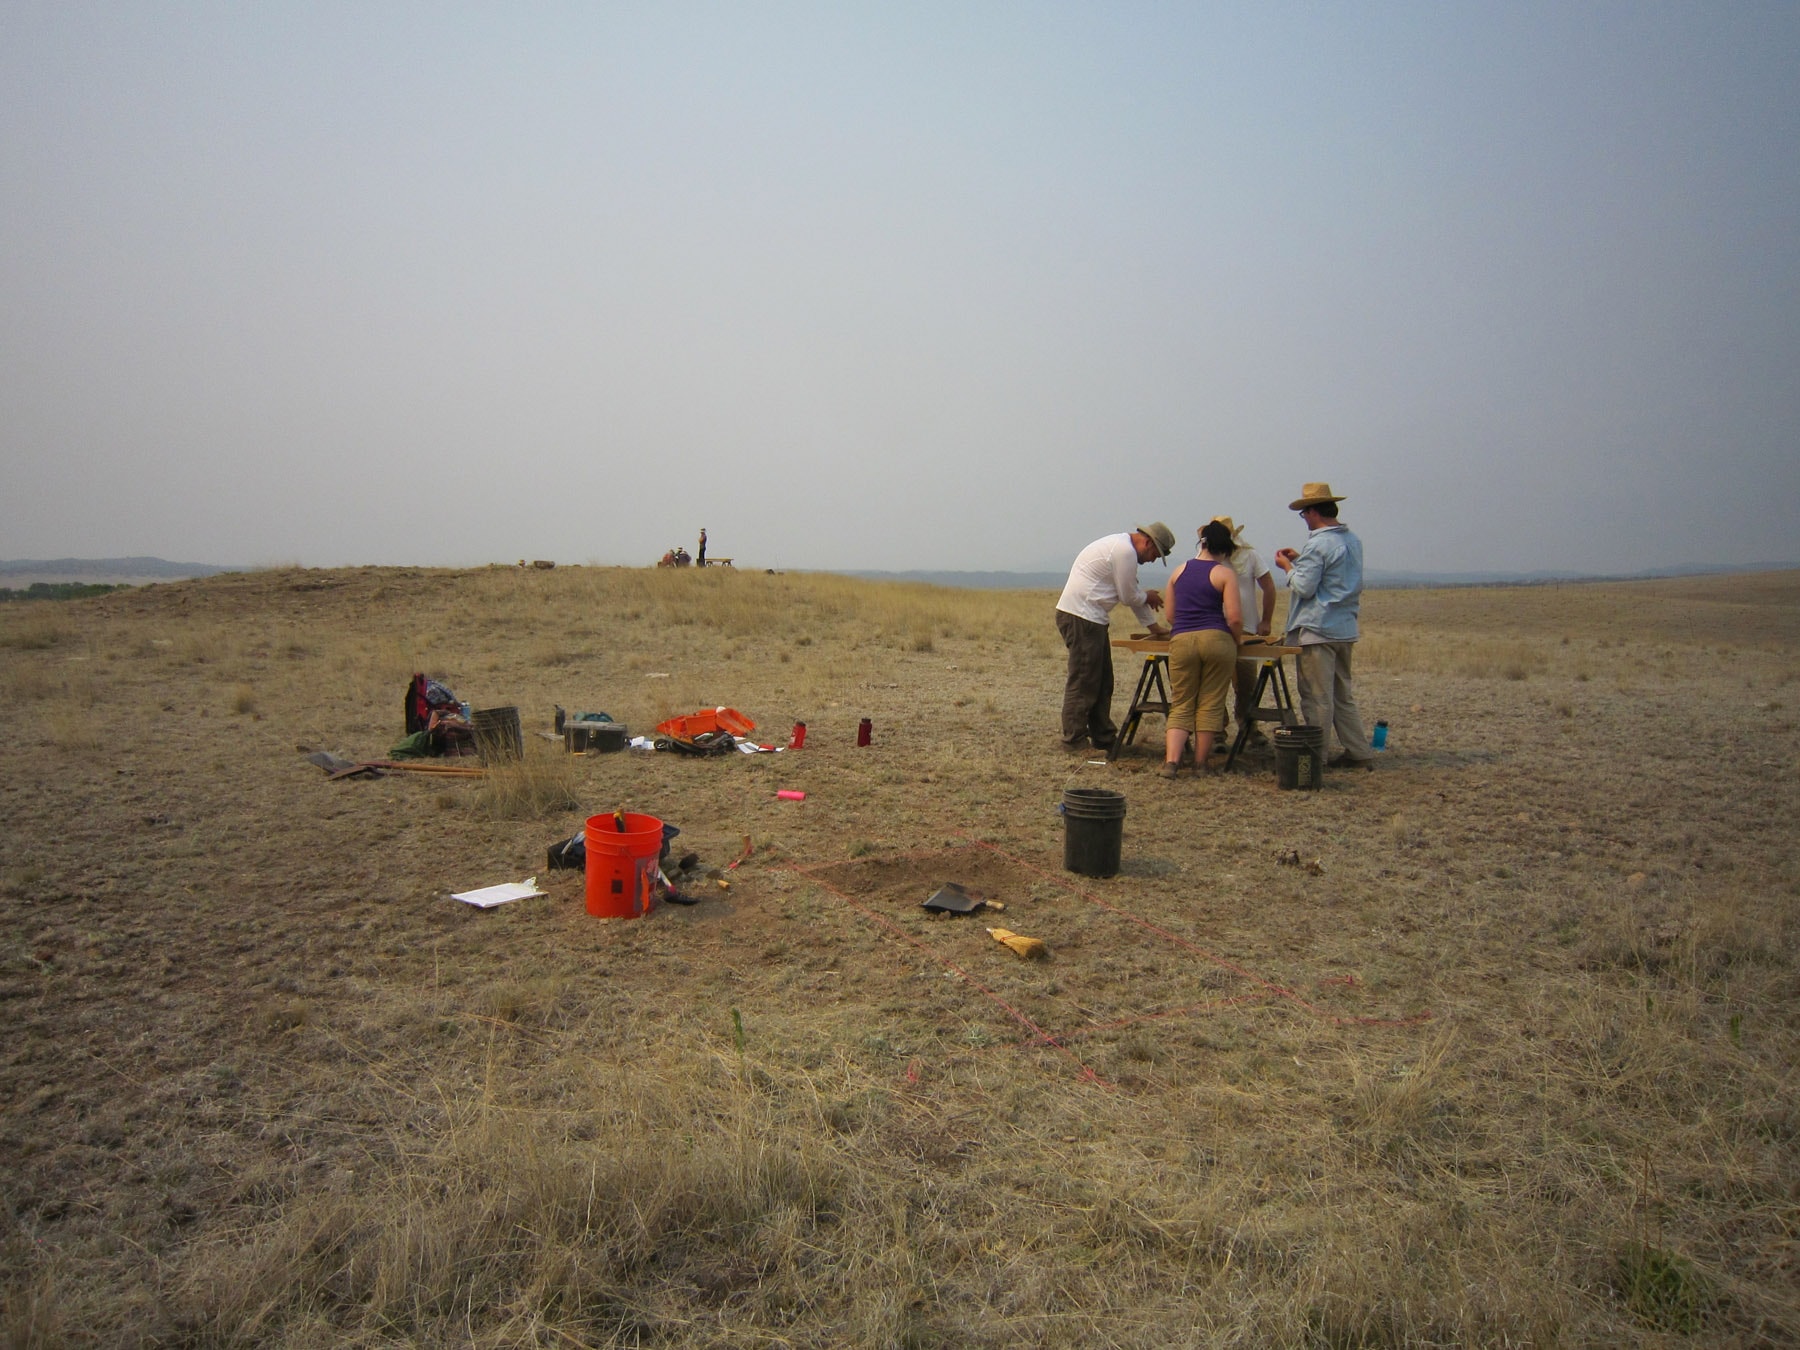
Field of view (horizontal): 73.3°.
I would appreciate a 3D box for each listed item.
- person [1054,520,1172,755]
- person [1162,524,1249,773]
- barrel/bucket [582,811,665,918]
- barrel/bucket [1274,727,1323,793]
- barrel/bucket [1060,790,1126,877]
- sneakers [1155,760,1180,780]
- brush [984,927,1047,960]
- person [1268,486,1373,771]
[{"bbox_3d":[2.184,-0.358,12.505,1.033,2.352,1.318,0,8,8],"label":"person"},{"bbox_3d":[2.821,-0.225,11.157,0.666,2.341,1.164,1,8,13],"label":"person"},{"bbox_3d":[-1.878,1.262,8.160,0.545,0.610,0.562,6,10,-1],"label":"barrel/bucket"},{"bbox_3d":[3.541,0.741,10.676,0.476,0.514,0.495,-1,-1,0],"label":"barrel/bucket"},{"bbox_3d":[1.459,1.138,8.841,0.545,0.567,0.548,2,1,0],"label":"barrel/bucket"},{"bbox_3d":[2.533,0.895,11.384,0.133,0.136,0.301,-2,-7,6],"label":"sneakers"},{"bbox_3d":[0.715,1.693,7.627,0.129,0.091,0.366,20,-12,-27],"label":"brush"},{"bbox_3d":[4.070,-0.443,11.473,0.816,2.672,0.675,-4,8,-23],"label":"person"}]
